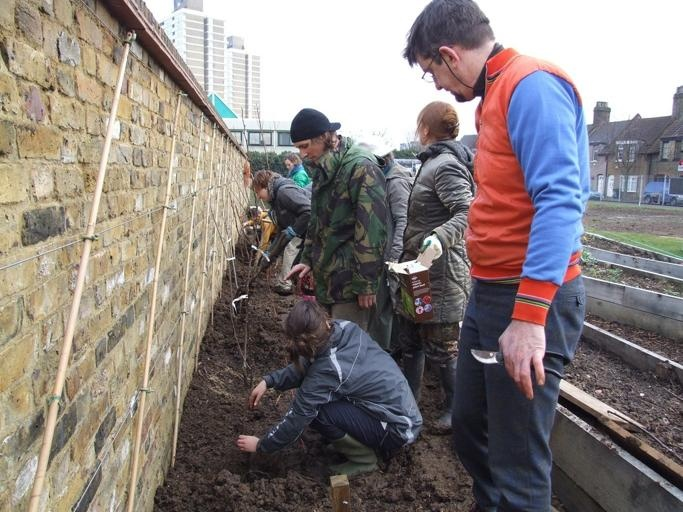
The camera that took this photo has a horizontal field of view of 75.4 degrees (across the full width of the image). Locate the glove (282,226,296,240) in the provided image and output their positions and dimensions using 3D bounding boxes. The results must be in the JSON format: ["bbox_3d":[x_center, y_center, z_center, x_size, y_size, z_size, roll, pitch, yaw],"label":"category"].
[{"bbox_3d":[-0.604,-0.260,5.039,0.131,0.125,0.140,-30,-9,0],"label":"glove"}]

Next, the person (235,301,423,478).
[{"bbox_3d":[-0.081,0.893,3.002,1.143,1.190,0.748,4,13,-5],"label":"person"}]
